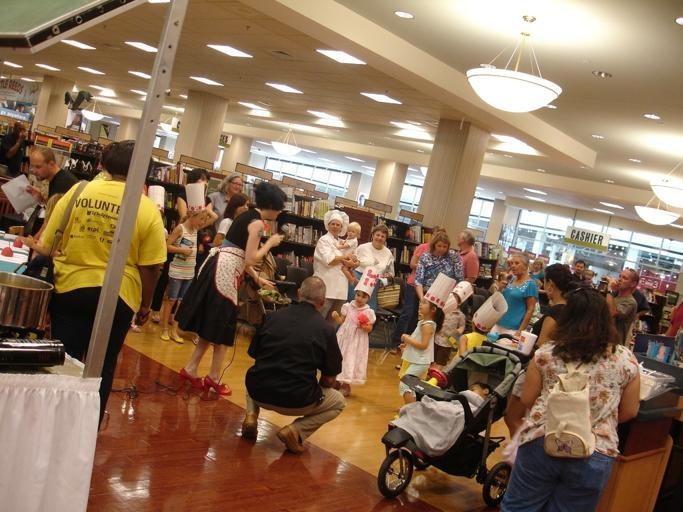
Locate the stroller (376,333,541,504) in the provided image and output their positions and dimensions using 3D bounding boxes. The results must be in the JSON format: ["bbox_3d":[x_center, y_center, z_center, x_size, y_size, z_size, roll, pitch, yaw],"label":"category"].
[{"bbox_3d":[0.779,1.272,4.056,1.614,1.284,0.987,5,0,-32],"label":"stroller"}]

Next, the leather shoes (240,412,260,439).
[{"bbox_3d":[-0.772,1.425,3.832,0.100,0.108,0.259,2,2,-5],"label":"leather shoes"}]

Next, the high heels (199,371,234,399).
[{"bbox_3d":[-1.245,1.284,4.538,0.334,0.204,0.169,0,4,-20],"label":"high heels"}]

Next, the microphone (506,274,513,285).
[{"bbox_3d":[2.738,0.379,7.451,0.041,0.116,0.094,-1,-1,43],"label":"microphone"}]

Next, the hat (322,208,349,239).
[{"bbox_3d":[-0.085,-0.433,6.325,0.418,0.409,0.169,5,16,0],"label":"hat"}]

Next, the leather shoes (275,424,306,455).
[{"bbox_3d":[-0.399,1.482,3.700,0.354,0.167,0.117,57,10,-39],"label":"leather shoes"}]
